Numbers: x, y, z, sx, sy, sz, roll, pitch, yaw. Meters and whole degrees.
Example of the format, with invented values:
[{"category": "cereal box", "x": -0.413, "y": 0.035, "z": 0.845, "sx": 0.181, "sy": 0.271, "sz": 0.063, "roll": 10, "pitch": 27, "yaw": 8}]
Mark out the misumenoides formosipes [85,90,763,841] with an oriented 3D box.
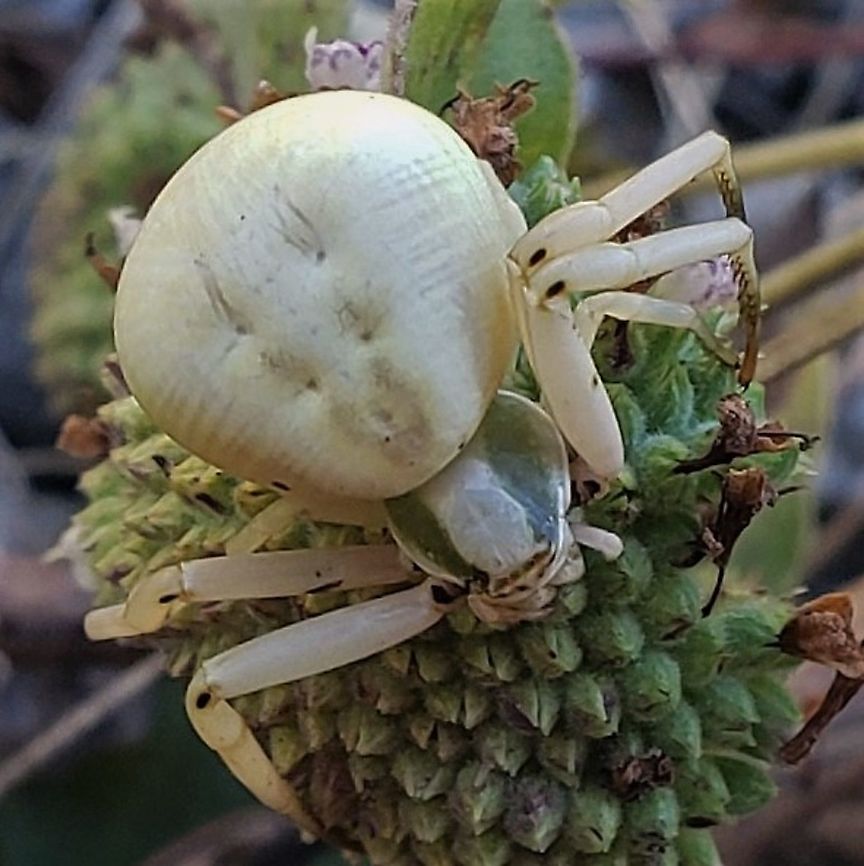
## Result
[{"category": "misumenoides formosipes", "x": -0.004, "y": -0.009, "z": 0.801, "sx": 0.462, "sy": 0.156, "sz": 0.296, "roll": -48, "pitch": 50, "yaw": 21}]
